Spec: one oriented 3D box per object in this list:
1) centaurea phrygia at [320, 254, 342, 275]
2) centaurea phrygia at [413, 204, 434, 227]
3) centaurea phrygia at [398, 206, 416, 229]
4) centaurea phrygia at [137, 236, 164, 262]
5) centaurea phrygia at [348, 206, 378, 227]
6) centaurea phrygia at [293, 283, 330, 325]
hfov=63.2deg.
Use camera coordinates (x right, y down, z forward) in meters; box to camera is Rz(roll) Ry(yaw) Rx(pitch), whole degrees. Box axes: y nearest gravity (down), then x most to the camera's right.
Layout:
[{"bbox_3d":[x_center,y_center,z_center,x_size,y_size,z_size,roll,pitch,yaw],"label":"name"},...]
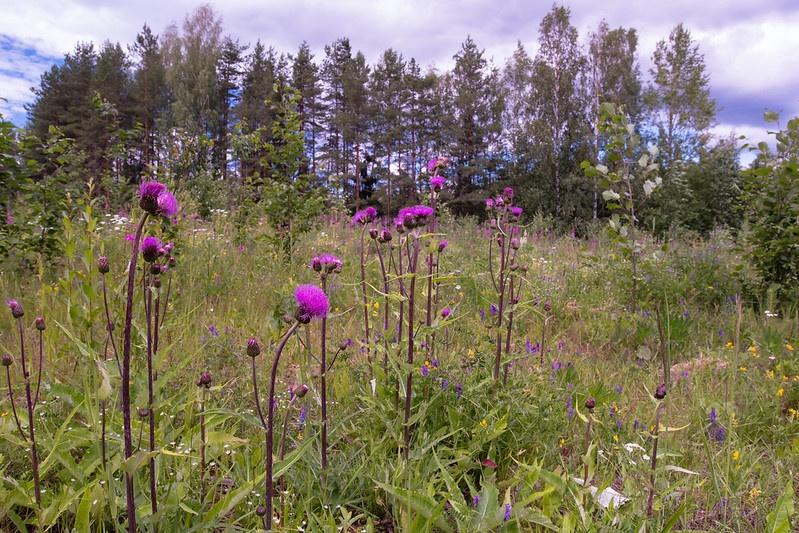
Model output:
[{"bbox_3d":[-0.695,-0.041,6.568,0.172,0.234,0.185,-7,12,-31],"label":"centaurea phrygia"},{"bbox_3d":[0.246,-0.513,6.546,0.171,0.158,0.184,-3,9,-24],"label":"centaurea phrygia"},{"bbox_3d":[0.079,-0.509,6.516,0.156,0.210,0.192,2,21,2],"label":"centaurea phrygia"},{"bbox_3d":[-2.278,-0.158,6.032,0.147,0.230,0.297,5,3,12],"label":"centaurea phrygia"},{"bbox_3d":[-0.379,-0.547,6.978,0.228,0.197,0.390,5,3,-8],"label":"centaurea phrygia"},{"bbox_3d":[-0.824,0.342,6.033,0.325,0.346,0.217,4,3,-13],"label":"centaurea phrygia"}]
